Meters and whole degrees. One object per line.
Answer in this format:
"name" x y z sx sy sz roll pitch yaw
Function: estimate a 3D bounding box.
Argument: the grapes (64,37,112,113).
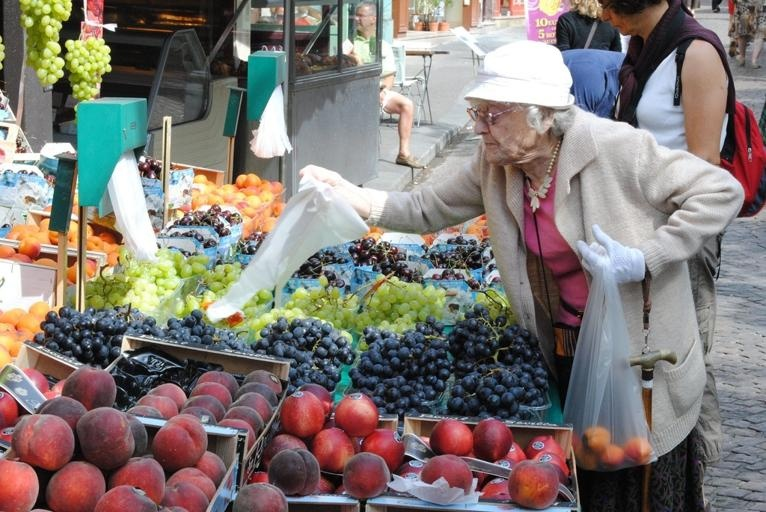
"grapes" -2.192 -1.378 5.447 0.284 0.436 0.266 3 -6 17
